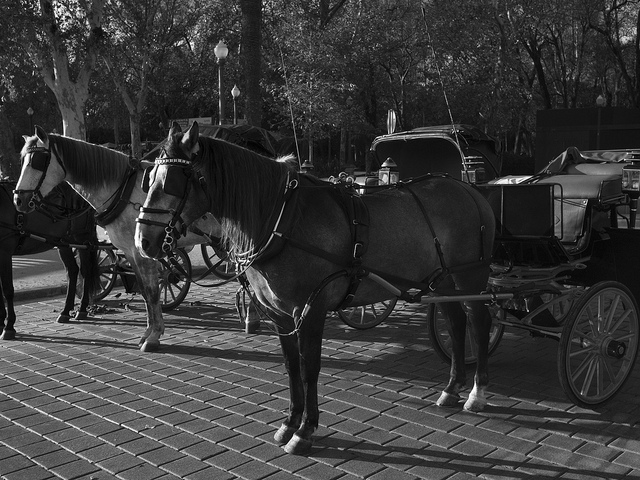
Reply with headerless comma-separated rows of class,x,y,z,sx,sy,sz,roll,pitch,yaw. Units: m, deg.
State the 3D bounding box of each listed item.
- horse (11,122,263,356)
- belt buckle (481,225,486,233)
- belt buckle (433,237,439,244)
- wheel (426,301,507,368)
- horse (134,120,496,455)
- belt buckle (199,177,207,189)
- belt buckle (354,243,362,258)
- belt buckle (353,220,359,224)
horse,-2.397,-0.286,11.918,1.650,2.283,4.714,-5,5,25
belt buckle,1.662,-0.118,8.863,0.066,0.060,0.018,1,0,-11
belt buckle,1.133,0.001,8.543,0.078,0.068,0.031,-2,-6,-2
wheel,1.627,1.056,9.777,1.094,0.727,0.240,1,3,32
horse,-0.063,0.434,8.817,1.346,2.791,4.930,11,8,44
belt buckle,-1.061,-0.527,7.811,0.067,0.081,0.024,-11,13,-11
belt buckle,0.344,0.079,8.071,0.086,0.110,0.024,-6,7,-39
belt buckle,0.326,-0.176,8.124,0.051,0.034,0.012,9,11,11
